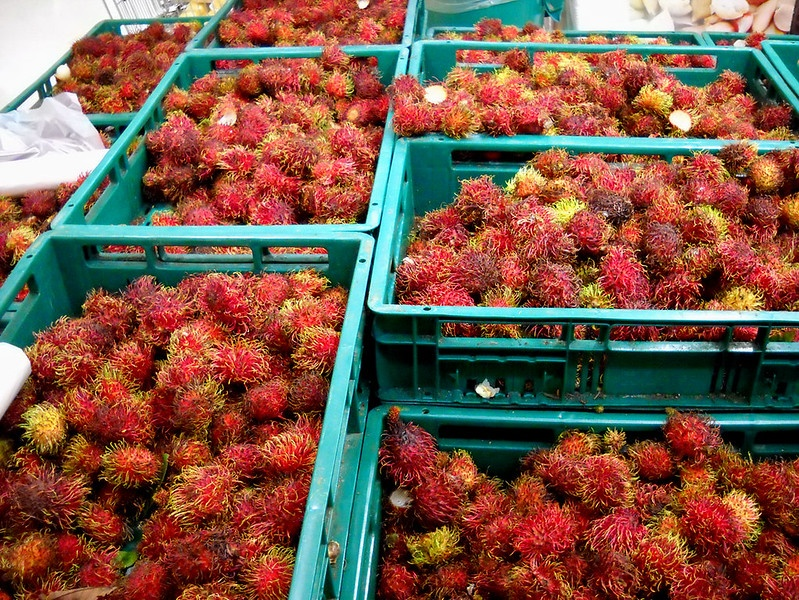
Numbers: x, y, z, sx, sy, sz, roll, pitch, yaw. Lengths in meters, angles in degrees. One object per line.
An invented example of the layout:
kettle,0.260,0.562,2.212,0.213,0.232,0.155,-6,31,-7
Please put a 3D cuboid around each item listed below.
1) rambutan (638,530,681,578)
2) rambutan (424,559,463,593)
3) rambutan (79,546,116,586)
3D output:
rambutan,0.760,0.730,2.062,0.102,0.100,0.105,21,46,33
rambutan,0.151,0.869,2.186,0.125,0.044,0.088,-21,52,-11
rambutan,-0.865,0.782,2.041,0.084,0.086,0.081,27,25,19
